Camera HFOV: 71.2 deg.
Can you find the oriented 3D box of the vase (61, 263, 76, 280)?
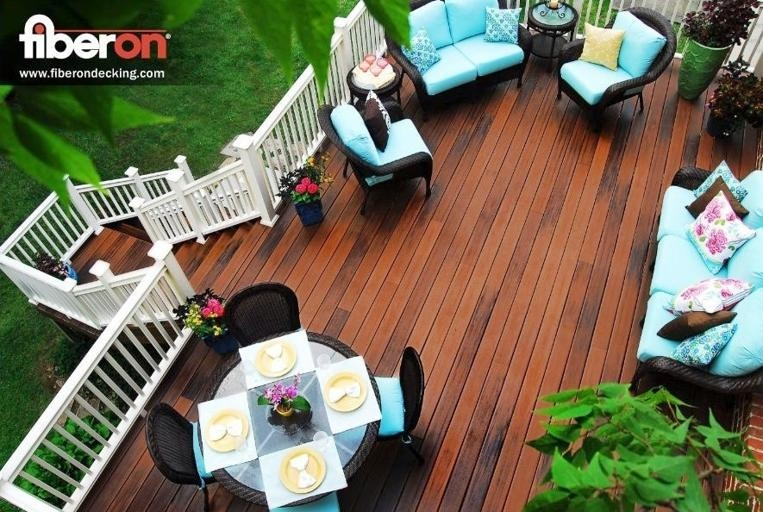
[{"bbox_3d":[-3.901,0.190,6.616,0.092,0.116,0.125,32,57,27],"label":"vase"}]

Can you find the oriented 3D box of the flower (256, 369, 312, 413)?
[{"bbox_3d":[-0.644,0.960,3.531,0.331,0.325,0.211,-8,43,-3],"label":"flower"}]

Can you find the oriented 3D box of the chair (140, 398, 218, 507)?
[{"bbox_3d":[-1.426,1.412,3.751,0.402,0.650,0.407,-14,70,-3],"label":"chair"}]

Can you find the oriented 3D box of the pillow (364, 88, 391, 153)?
[{"bbox_3d":[-0.050,-1.321,5.271,0.225,0.460,0.673,-3,52,0],"label":"pillow"}]

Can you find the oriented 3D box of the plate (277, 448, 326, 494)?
[{"bbox_3d":[-0.508,1.368,3.421,0.285,0.086,0.268,-9,46,-3],"label":"plate"}]

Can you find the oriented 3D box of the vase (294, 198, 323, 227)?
[{"bbox_3d":[-0.699,-0.431,5.271,0.241,0.365,0.252,-11,56,-5],"label":"vase"}]

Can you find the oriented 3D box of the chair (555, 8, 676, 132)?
[{"bbox_3d":[2.566,-2.001,5.761,1.082,0.912,0.972,-21,46,-16],"label":"chair"}]

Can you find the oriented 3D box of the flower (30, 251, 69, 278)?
[{"bbox_3d":[-4.090,0.103,6.562,0.268,0.115,0.170,35,47,20],"label":"flower"}]

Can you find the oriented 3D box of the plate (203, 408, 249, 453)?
[{"bbox_3d":[-1.040,1.164,3.589,0.289,0.059,0.275,-3,46,3],"label":"plate"}]

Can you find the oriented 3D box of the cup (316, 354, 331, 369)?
[{"bbox_3d":[-0.421,0.756,3.860,0.082,0.065,0.087,-1,63,2],"label":"cup"}]

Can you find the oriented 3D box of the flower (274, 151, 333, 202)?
[{"bbox_3d":[-0.789,-0.791,5.357,0.441,0.336,0.647,-15,72,-5],"label":"flower"}]

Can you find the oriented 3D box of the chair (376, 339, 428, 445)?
[{"bbox_3d":[0.142,0.999,3.781,0.577,0.778,0.574,-3,74,4],"label":"chair"}]

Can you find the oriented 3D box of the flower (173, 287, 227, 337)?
[{"bbox_3d":[-1.454,0.466,4.383,0.436,0.209,0.421,22,22,29],"label":"flower"}]

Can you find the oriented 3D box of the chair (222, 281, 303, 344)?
[{"bbox_3d":[-0.970,0.347,4.318,0.447,0.705,0.555,-16,70,-8],"label":"chair"}]

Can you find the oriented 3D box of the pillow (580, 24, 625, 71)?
[{"bbox_3d":[2.375,-2.213,5.709,0.353,0.374,0.132,30,36,17],"label":"pillow"}]
